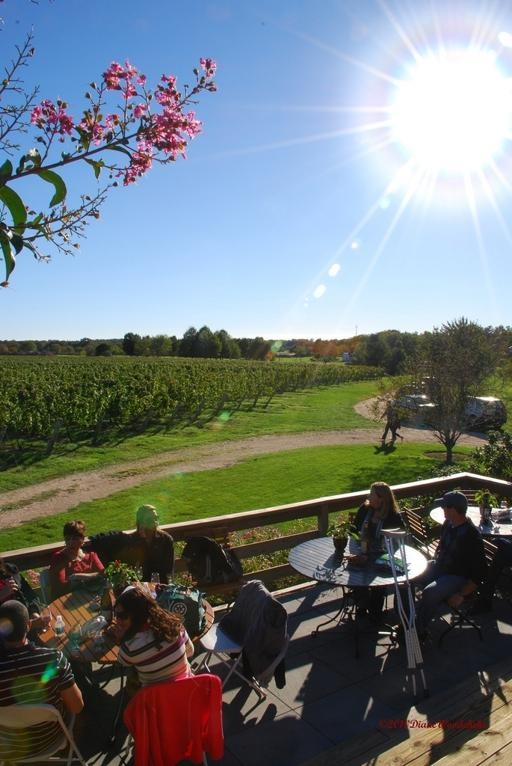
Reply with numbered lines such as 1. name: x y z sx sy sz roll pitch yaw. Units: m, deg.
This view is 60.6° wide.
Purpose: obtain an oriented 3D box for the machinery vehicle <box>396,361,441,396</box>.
1. machinery vehicle: 6.612 -0.145 17.939 1.111 0.850 1.174 7 22 33

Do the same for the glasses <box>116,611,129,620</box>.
1. glasses: -0.629 1.079 2.073 0.052 0.040 0.041 3 1 -1

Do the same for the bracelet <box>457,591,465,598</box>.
1. bracelet: 1.690 1.731 3.616 0.039 0.009 0.039 -28 1 -14

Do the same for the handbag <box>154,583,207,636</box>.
1. handbag: -0.483 1.510 3.053 0.365 0.355 0.279 -2 1 1

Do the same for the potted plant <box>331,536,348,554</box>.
1. potted plant: 0.735 1.400 3.881 0.146 0.156 0.135 -2 6 -16
